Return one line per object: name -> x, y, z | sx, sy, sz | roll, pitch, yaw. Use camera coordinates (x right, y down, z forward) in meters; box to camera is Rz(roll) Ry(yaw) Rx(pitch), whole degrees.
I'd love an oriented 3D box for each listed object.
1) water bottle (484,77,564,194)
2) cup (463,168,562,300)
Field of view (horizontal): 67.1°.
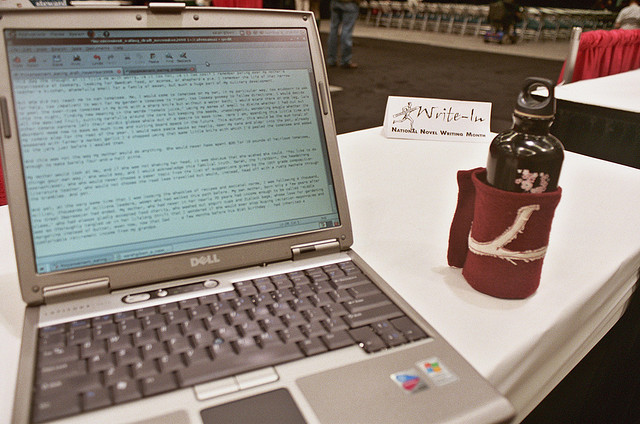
water bottle -> 0.325, -0.118, 0.745 | 0.101, 0.166, 0.095 | -2, 29, 1
cup -> 0.328, 0.040, 0.829 | 0.163, 0.189, 0.137 | 3, 25, 7
